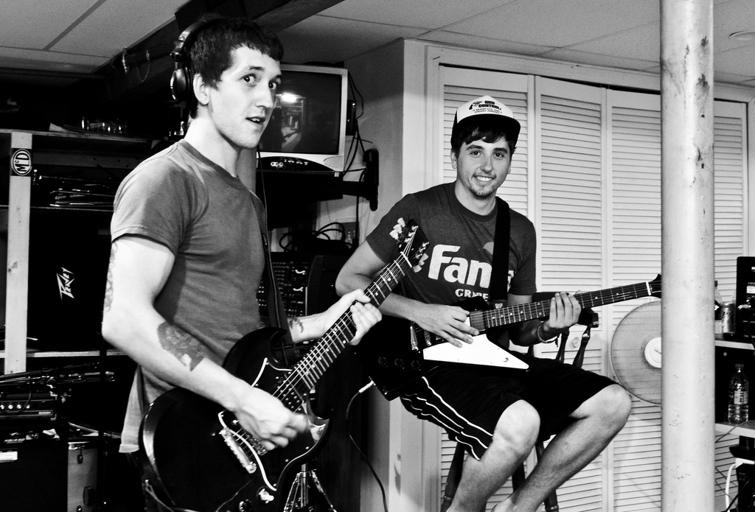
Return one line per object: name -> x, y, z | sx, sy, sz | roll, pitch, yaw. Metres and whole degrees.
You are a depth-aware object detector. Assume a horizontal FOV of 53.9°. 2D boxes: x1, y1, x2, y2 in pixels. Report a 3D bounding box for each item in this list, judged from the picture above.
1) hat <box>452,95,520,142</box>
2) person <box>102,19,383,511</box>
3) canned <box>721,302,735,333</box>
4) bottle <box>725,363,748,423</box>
hat -> 0.583, -0.768, 3.987 | 0.324, 0.171, 0.459 | 2, -6, 6
person -> -0.597, -0.118, 2.706 | 0.695, 1.680, 0.328 | 2, -1, -6
canned -> 2.336, 0.415, 4.969 | 0.079, 0.144, 0.140 | 2, 0, 25
bottle -> 2.344, 0.896, 4.840 | 0.131, 0.269, 0.185 | 2, 0, 26
